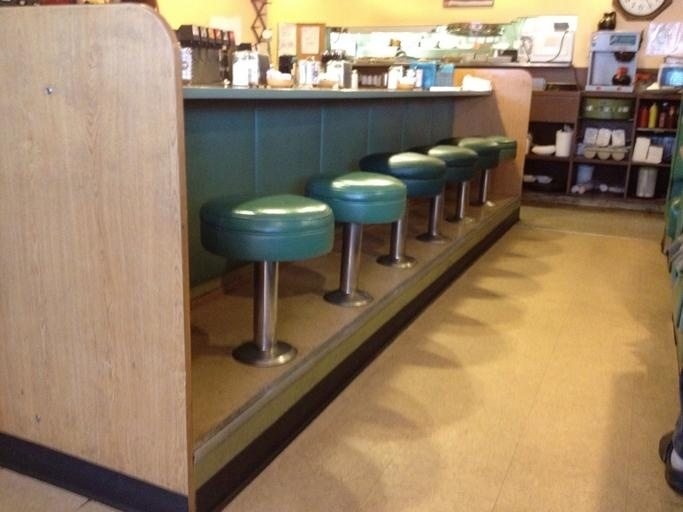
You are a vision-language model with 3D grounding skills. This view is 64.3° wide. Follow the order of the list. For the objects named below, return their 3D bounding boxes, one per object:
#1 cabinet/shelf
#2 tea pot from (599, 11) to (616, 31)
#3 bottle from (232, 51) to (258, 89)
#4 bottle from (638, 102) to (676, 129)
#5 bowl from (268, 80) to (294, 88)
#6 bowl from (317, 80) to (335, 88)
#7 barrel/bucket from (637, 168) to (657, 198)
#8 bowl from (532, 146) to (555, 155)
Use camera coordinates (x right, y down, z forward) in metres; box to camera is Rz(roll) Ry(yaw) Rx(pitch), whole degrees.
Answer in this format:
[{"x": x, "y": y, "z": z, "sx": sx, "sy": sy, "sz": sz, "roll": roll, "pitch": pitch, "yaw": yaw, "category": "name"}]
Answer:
[{"x": 2.810, "y": -1.158, "z": 5.797, "sx": 1.487, "sy": 1.192, "sz": 0.437, "roll": 7, "pitch": 17, "yaw": 26, "category": "cabinet/shelf"}, {"x": 3.027, "y": -2.707, "z": 6.199, "sx": 0.185, "sy": 0.200, "sz": 0.244, "roll": 8, "pitch": 22, "yaw": 23, "category": "tea pot"}, {"x": -0.469, "y": -0.932, "z": 2.675, "sx": 0.137, "sy": 0.160, "sz": 0.276, "roll": -5, "pitch": 21, "yaw": -9, "category": "bottle"}, {"x": 3.323, "y": -1.509, "z": 5.730, "sx": 0.353, "sy": 0.248, "sz": 0.494, "roll": 9, "pitch": 23, "yaw": 26, "category": "bottle"}, {"x": -0.294, "y": -0.841, "z": 2.632, "sx": 0.117, "sy": 0.039, "sz": 0.079, "roll": -5, "pitch": 21, "yaw": -10, "category": "bowl"}, {"x": -0.078, "y": -0.934, "z": 2.919, "sx": 0.066, "sy": 0.033, "sz": 0.085, "roll": 1, "pitch": 5, "yaw": 2, "category": "bowl"}, {"x": 3.264, "y": -0.797, "z": 5.811, "sx": 0.192, "sy": 0.335, "sz": 0.190, "roll": -1, "pitch": 21, "yaw": 0, "category": "barrel/bucket"}, {"x": 2.295, "y": -1.218, "z": 6.180, "sx": 0.159, "sy": 0.065, "sz": 0.156, "roll": 2, "pitch": 21, "yaw": -1, "category": "bowl"}]
